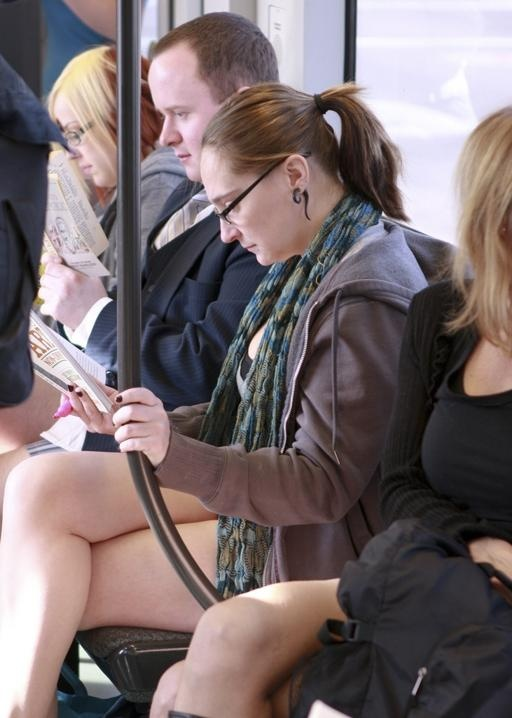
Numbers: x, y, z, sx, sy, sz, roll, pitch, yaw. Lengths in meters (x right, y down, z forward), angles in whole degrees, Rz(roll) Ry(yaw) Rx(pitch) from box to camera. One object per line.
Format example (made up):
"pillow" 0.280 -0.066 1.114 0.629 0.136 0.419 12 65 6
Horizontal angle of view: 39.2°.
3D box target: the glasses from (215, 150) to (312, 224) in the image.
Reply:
"glasses" 0.026 -0.253 1.151 0.034 0.122 0.116 48 -10 -6

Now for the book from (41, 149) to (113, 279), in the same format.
"book" -0.248 -0.231 1.136 0.062 0.168 0.191 -24 18 -20

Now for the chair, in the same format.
"chair" 0.085 0.136 1.354 0.809 0.836 0.613 4 3 -10
